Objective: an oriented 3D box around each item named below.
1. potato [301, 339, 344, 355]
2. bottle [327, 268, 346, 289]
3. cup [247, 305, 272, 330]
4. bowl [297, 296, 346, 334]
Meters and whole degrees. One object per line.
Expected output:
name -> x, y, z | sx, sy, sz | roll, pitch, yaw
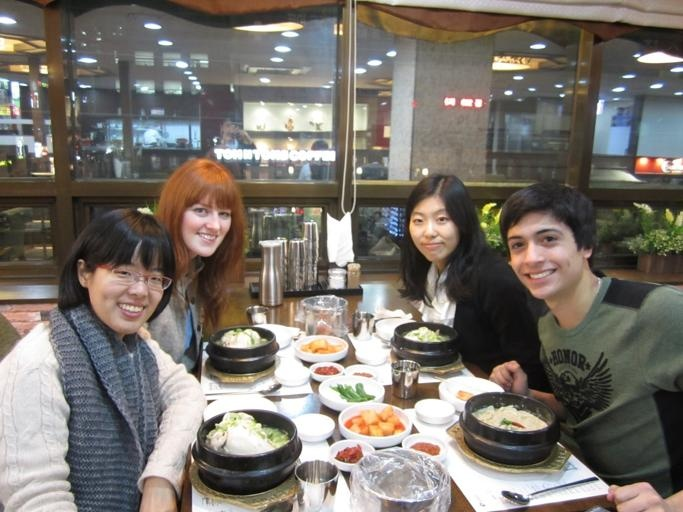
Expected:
potato -> -0.085, 0.424, 2.465 | 0.094, 0.031, 0.095 | 8, 9, 40
bottle -> -0.033, 0.150, 3.532 | 0.124, 0.135, 0.115 | -2, 13, -11
cup -> -0.455, 0.331, 2.821 | 0.090, 0.082, 0.114 | 1, 9, 1
bowl -> -0.118, 0.319, 2.721 | 0.228, 0.171, 0.181 | 3, 18, -5
